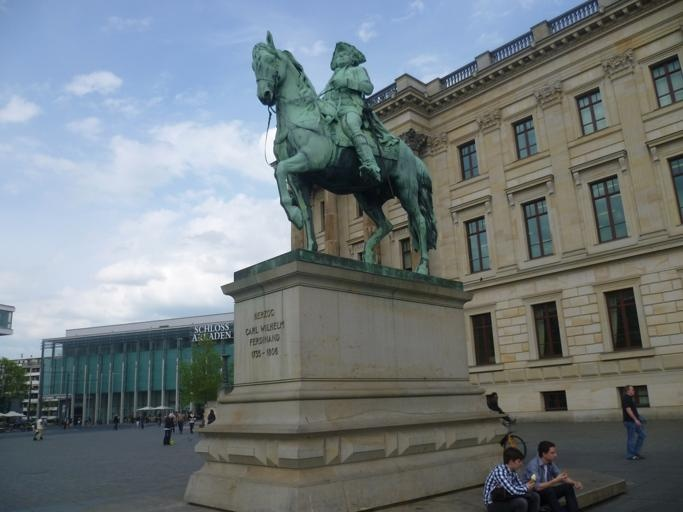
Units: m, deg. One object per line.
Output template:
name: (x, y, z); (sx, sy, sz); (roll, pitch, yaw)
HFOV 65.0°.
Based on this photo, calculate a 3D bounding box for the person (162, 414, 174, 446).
person: (-8.826, 8.819, 27.332); (0.381, 1.520, 1.628); (3, -16, -20)

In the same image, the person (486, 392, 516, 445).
person: (5.076, 5.262, 17.641); (0.793, 1.467, 0.534); (22, -29, 3)

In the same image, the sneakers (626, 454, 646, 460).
sneakers: (7.494, 5.136, 13.634); (0.417, 0.171, 0.157); (-1, -12, 6)

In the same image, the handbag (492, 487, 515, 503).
handbag: (2.619, 3.831, 8.726); (0.216, 0.206, 0.300); (-11, -23, 42)

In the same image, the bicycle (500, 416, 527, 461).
bicycle: (4.920, 5.467, 15.849); (0.717, 0.998, 1.613); (4, -17, -2)
